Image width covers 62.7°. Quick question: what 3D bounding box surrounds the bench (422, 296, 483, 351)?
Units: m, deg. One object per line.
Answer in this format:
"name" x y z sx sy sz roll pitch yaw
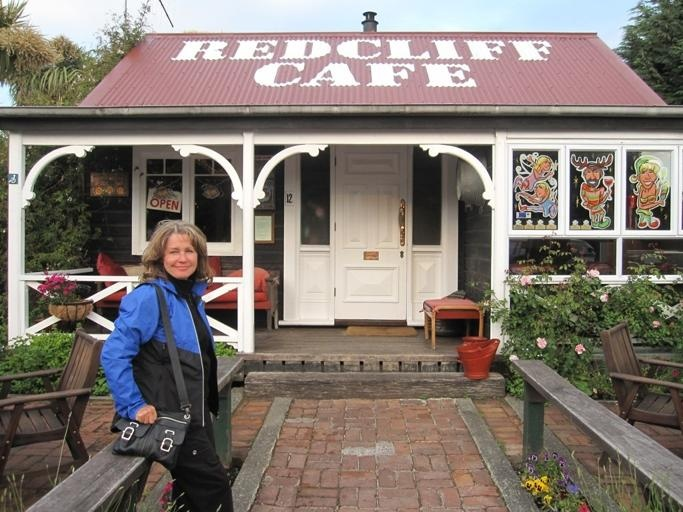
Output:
"bench" 1.471 0.985 7.453 0.568 0.422 0.876 1 0 3

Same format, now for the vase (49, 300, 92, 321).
"vase" -3.399 0.704 7.059 0.339 0.148 0.333 0 -2 1

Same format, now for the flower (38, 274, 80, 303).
"flower" -3.585 0.419 7.225 0.355 0.376 0.426 -2 7 2

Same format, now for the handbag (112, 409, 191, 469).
"handbag" -1.193 1.134 3.431 0.361 0.351 0.126 13 -1 2
